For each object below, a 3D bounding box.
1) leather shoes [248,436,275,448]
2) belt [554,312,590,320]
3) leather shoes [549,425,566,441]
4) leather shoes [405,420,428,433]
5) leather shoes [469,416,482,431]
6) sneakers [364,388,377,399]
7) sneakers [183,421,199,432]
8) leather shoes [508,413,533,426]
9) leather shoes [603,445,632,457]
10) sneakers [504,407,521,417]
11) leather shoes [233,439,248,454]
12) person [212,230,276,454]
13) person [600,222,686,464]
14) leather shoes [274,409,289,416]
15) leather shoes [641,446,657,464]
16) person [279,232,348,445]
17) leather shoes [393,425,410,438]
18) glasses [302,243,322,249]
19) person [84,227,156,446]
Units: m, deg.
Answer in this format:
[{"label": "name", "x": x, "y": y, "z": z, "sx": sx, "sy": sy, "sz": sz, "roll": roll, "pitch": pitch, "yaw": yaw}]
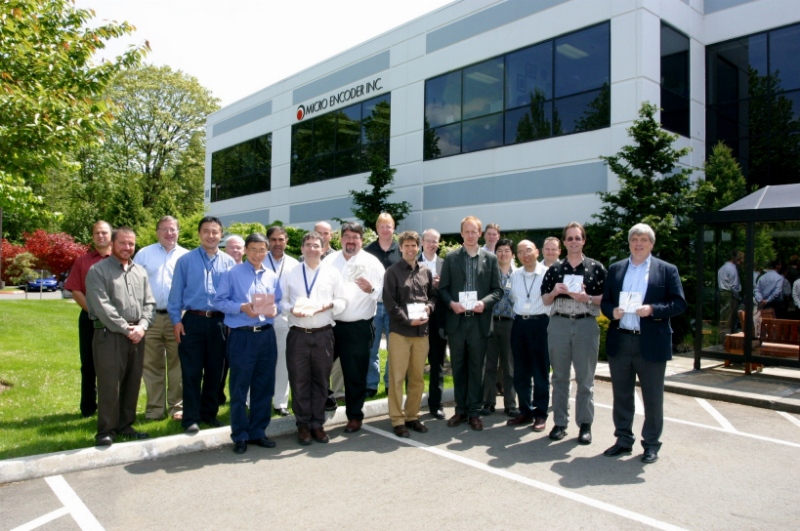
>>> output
[{"label": "leather shoes", "x": -2.265, "y": 2.930, "z": 10.829, "sx": 0.463, "sy": 0.218, "sz": 0.179, "roll": 1, "pitch": -3, "yaw": 2}, {"label": "belt", "x": 2.941, "y": 0.870, "z": 11.155, "sx": 0.585, "sy": 0.103, "sz": 0.142, "roll": -2, "pitch": -2, "yaw": 2}, {"label": "leather shoes", "x": 2.688, "y": 2.873, "z": 11.215, "sx": 0.129, "sy": 0.304, "sz": 0.400, "roll": 1, "pitch": 0, "yaw": 34}, {"label": "leather shoes", "x": 0.286, "y": 2.812, "z": 11.414, "sx": 0.160, "sy": 0.180, "sz": 0.434, "roll": -2, "pitch": -6, "yaw": -39}, {"label": "leather shoes", "x": 1.333, "y": 2.791, "z": 11.505, "sx": 0.246, "sy": 0.208, "sz": 0.217, "roll": -2, "pitch": -2, "yaw": 5}, {"label": "sneakers", "x": -0.556, "y": 2.502, "z": 12.730, "sx": 0.192, "sy": 0.184, "sz": 0.210, "roll": -1, "pitch": -1, "yaw": 10}, {"label": "sneakers", "x": -3.406, "y": 2.667, "z": 10.721, "sx": 0.210, "sy": 0.158, "sz": 0.157, "roll": -1, "pitch": -2, "yaw": -15}, {"label": "leather shoes", "x": 2.155, "y": 2.770, "z": 11.721, "sx": 0.511, "sy": 0.233, "sz": 0.177, "roll": 5, "pitch": -4, "yaw": -21}, {"label": "leather shoes", "x": 3.518, "y": 3.029, "z": 10.613, "sx": 0.484, "sy": 0.227, "sz": 0.185, "roll": 3, "pitch": -7, "yaw": -6}, {"label": "sneakers", "x": 2.087, "y": 2.723, "z": 12.086, "sx": 0.107, "sy": 0.117, "sz": 0.257, "roll": 3, "pitch": -12, "yaw": -31}, {"label": "leather shoes", "x": -2.572, "y": 2.919, "z": 10.539, "sx": 0.152, "sy": 0.134, "sz": 0.309, "roll": 4, "pitch": -13, "yaw": -23}, {"label": "person", "x": -2.441, "y": 1.248, "z": 10.718, "sx": 0.970, "sy": 3.546, "sz": 0.661, "roll": -1, "pitch": -2, "yaw": -12}, {"label": "person", "x": 3.895, "y": 1.234, "z": 10.634, "sx": 1.218, "sy": 3.828, "sz": 0.543, "roll": -2, "pitch": -2, "yaw": 19}, {"label": "leather shoes", "x": -2.129, "y": 2.652, "z": 11.781, "sx": 0.115, "sy": 0.159, "sz": 0.345, "roll": 4, "pitch": -9, "yaw": -33}, {"label": "leather shoes", "x": 4.025, "y": 3.038, "z": 10.466, "sx": 0.407, "sy": 0.230, "sz": 0.150, "roll": -1, "pitch": -2, "yaw": -29}, {"label": "person", "x": -1.469, "y": 1.227, "z": 11.003, "sx": 1.007, "sy": 3.486, "sz": 0.476, "roll": -1, "pitch": -2, "yaw": -10}, {"label": "leather shoes", "x": 0.025, "y": 2.842, "z": 11.213, "sx": 0.296, "sy": 0.184, "sz": 0.203, "roll": -2, "pitch": -2, "yaw": 0}, {"label": "glasses", "x": -1.473, "y": -0.310, "z": 10.959, "sx": 0.285, "sy": 0.104, "sz": 0.136, "roll": -1, "pitch": -2, "yaw": -12}, {"label": "person", "x": -4.559, "y": 1.102, "z": 10.669, "sx": 0.954, "sy": 3.459, "sz": 0.618, "roll": -1, "pitch": -2, "yaw": -27}]
